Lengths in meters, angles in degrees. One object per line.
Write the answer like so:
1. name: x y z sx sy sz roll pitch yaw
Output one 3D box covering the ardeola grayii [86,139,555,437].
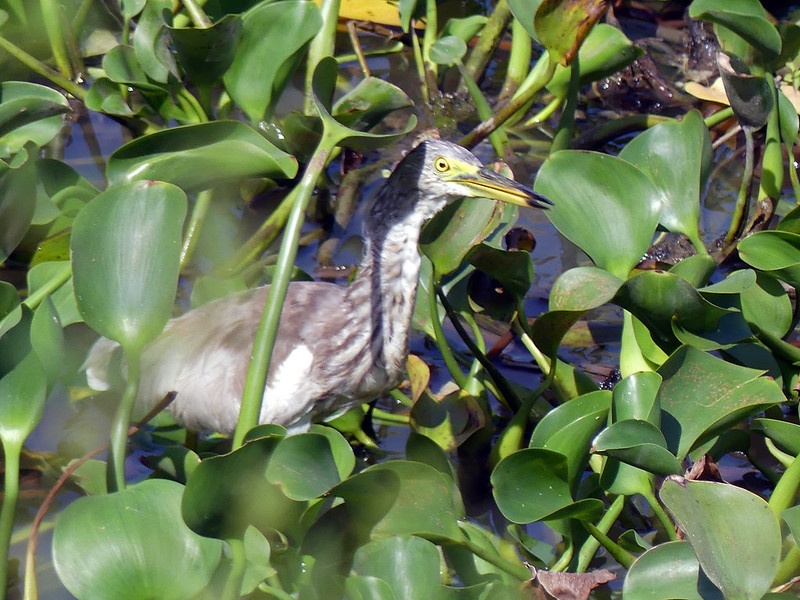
1. ardeola grayii: -0.416 0.045 3.679 1.708 1.531 0.641 15 17 20
